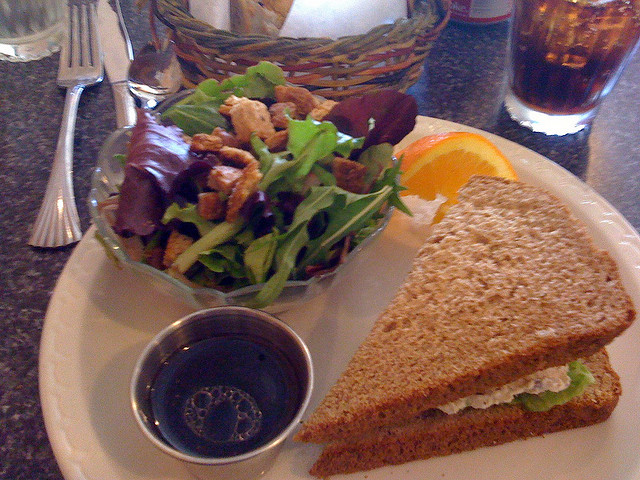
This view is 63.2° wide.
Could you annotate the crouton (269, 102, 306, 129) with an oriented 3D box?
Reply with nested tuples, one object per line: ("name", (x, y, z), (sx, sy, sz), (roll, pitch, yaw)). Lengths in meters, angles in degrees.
("crouton", (-0.109, -0.373, 1.608), (0.094, 0.028, 0.094), (-32, 57, -21))

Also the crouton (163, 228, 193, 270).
("crouton", (-0.377, 0.028, 1.413), (0.065, 0.026, 0.094), (18, 68, 16))

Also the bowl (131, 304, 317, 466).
("bowl", (-0.227, 0.362, 1.184), (0.394, 0.141, 0.378), (5, 31, -3))

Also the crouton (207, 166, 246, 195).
("crouton", (-0.248, -0.158, 1.405), (0.091, 0.051, 0.081), (9, 44, 4))

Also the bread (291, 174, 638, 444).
("bread", (0.435, 0.228, 1.344), (0.516, 0.286, 0.869), (30, 61, 15))

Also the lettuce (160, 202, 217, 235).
("lettuce", (-0.342, -0.054, 1.342), (0.118, 0.076, 0.033), (10, 11, -26))

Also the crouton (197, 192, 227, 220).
("crouton", (-0.288, -0.082, 1.385), (0.080, 0.021, 0.066), (7, 92, -24))

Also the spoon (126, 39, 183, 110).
("spoon", (-0.712, -0.698, 2.233), (0.212, 0.071, 0.613), (10, 45, -10))

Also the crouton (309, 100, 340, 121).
("crouton", (0.009, -0.393, 1.631), (0.050, 0.020, 0.102), (27, 50, 28))

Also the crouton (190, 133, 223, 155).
("crouton", (-0.332, -0.267, 1.496), (0.074, 0.021, 0.066), (6, 42, -2))
